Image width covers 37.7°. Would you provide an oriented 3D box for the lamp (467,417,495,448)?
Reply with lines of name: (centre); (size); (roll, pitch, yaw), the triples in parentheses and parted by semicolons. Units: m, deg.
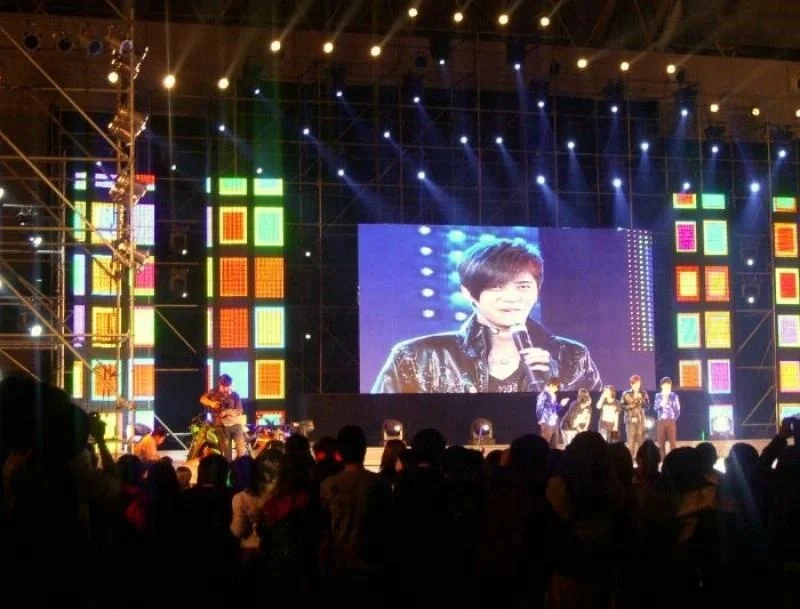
lamp: (1.742, 2.795, 25.739); (0.579, 0.608, 0.563); (1, -3, -9)
